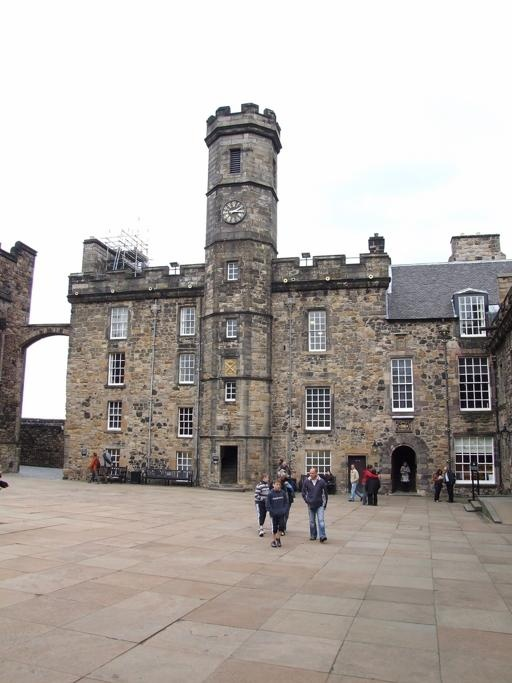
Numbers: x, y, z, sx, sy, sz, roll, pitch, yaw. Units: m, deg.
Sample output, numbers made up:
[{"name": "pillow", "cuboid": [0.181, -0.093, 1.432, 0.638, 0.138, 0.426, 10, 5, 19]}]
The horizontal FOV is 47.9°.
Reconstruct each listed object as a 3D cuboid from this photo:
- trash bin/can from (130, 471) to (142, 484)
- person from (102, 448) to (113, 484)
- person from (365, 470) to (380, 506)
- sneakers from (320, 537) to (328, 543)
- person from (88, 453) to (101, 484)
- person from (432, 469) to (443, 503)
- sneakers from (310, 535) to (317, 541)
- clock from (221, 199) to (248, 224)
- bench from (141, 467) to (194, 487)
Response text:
[{"name": "trash bin/can", "cuboid": [-5.513, 6.293, 26.757, 0.510, 0.675, 0.511, -1, -12, -3]}, {"name": "person", "cuboid": [-7.024, 5.824, 26.912, 0.455, 1.357, 0.959, 2, -10, -12]}, {"name": "person", "cuboid": [3.990, 5.013, 19.925, 0.452, 1.201, 0.623, -1, -10, 10]}, {"name": "sneakers", "cuboid": [1.325, 3.916, 11.412, 0.059, 0.078, 0.180, -1, -34, -15]}, {"name": "person", "cuboid": [-7.496, 5.829, 26.705, 0.481, 1.276, 2.103, 3, -10, -15]}, {"name": "person", "cuboid": [6.892, 5.432, 21.805, 0.344, 1.114, 1.183, -3, -10, 17]}, {"name": "sneakers", "cuboid": [1.162, 3.995, 11.766, 0.069, 0.141, 0.142, -6, -29, 23]}, {"name": "clock", "cuboid": [-0.986, -5.971, 26.461, 1.110, 1.174, 0.156, 5, -10, 20]}, {"name": "bench", "cuboid": [-4.104, 6.156, 26.345, 2.644, 0.749, 0.701, -5, -11, 29]}]
